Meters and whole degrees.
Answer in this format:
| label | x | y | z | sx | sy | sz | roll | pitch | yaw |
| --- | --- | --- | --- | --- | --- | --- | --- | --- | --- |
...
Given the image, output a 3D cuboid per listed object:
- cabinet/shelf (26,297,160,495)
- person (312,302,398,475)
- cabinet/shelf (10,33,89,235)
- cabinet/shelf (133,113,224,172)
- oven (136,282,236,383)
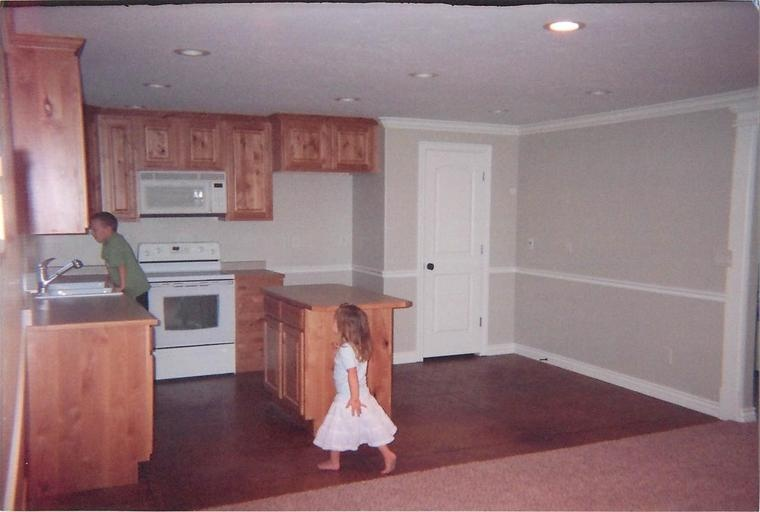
| label | x | y | z | sx | sy | sz | roll | pitch | yaw |
| --- | --- | --- | --- | --- | --- | --- | --- | --- | --- |
| cabinet/shelf | -2.121 | 0.922 | 4.735 | 1.091 | 1.446 | 1.606 | -2 | 4 | -32 |
| person | -0.194 | 0.948 | 4.369 | 0.579 | 1.200 | 0.239 | -1 | 7 | 3 |
| cabinet/shelf | -2.028 | -0.744 | 3.765 | 0.433 | 1.215 | 0.277 | -5 | 8 | -23 |
| cabinet/shelf | -2.059 | -1.174 | 6.323 | 1.010 | 0.608 | 0.559 | -2 | 3 | -22 |
| oven | -2.210 | 0.750 | 6.466 | 1.148 | 1.023 | 0.986 | -1 | -5 | -31 |
